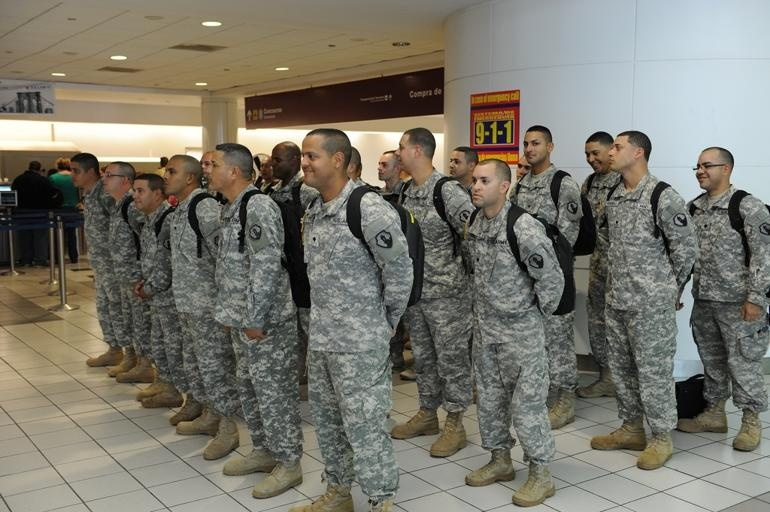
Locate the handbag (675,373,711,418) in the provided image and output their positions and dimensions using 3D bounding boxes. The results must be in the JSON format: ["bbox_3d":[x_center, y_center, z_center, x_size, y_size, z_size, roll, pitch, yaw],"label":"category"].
[{"bbox_3d":[2.557,1.179,4.577,0.353,0.380,0.129,-4,6,-13],"label":"handbag"}]

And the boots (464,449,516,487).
[{"bbox_3d":[0.729,1.473,3.823,0.397,0.211,0.135,0,1,-22],"label":"boots"}]

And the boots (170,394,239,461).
[{"bbox_3d":[-1.415,1.399,4.276,0.409,0.275,0.664,3,2,-30],"label":"boots"}]

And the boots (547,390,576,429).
[{"bbox_3d":[1.482,1.313,4.682,0.366,0.290,0.158,-5,4,-33],"label":"boots"}]

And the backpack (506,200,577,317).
[{"bbox_3d":[1.089,0.056,3.743,0.398,0.855,0.653,0,11,20],"label":"backpack"}]

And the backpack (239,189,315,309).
[{"bbox_3d":[-0.717,-0.046,3.518,0.437,0.751,0.686,-5,10,-8],"label":"backpack"}]

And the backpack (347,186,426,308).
[{"bbox_3d":[0.053,-0.036,3.408,0.398,0.826,0.704,-2,10,9],"label":"backpack"}]

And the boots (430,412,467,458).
[{"bbox_3d":[0.486,1.371,4.240,0.173,0.300,0.379,-3,-1,40],"label":"boots"}]

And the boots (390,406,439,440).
[{"bbox_3d":[0.275,1.383,4.484,0.520,0.256,0.169,2,0,-10],"label":"boots"}]

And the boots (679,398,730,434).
[{"bbox_3d":[2.620,1.357,4.654,0.534,0.288,0.190,2,-1,10],"label":"boots"}]

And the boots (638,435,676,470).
[{"bbox_3d":[1.996,1.441,3.983,0.439,0.224,0.146,1,-3,-41],"label":"boots"}]

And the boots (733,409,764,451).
[{"bbox_3d":[2.847,1.377,4.245,0.444,0.249,0.153,1,-4,-44],"label":"boots"}]
